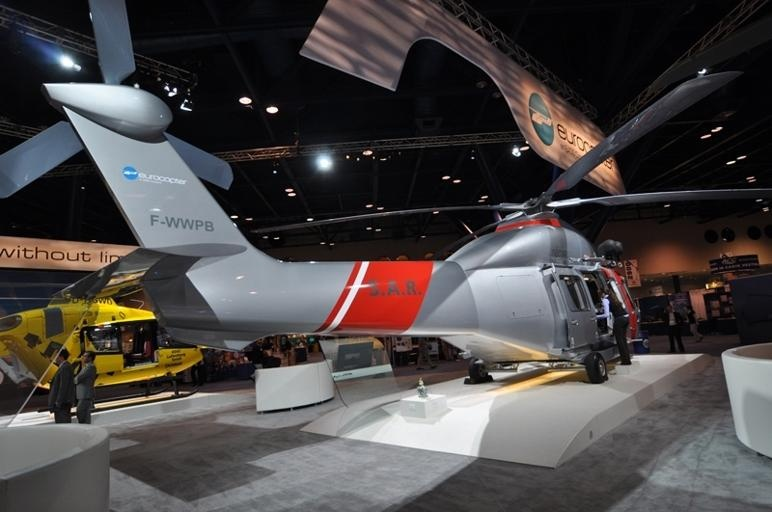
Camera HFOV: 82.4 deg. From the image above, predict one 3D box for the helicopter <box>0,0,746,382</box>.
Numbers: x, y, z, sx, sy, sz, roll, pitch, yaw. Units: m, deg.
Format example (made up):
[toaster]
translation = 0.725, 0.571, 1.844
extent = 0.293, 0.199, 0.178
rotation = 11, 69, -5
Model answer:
[helicopter]
translation = -0.719, 0.106, 8.343
extent = 9.899, 4.001, 7.928
rotation = 0, -1, -34
